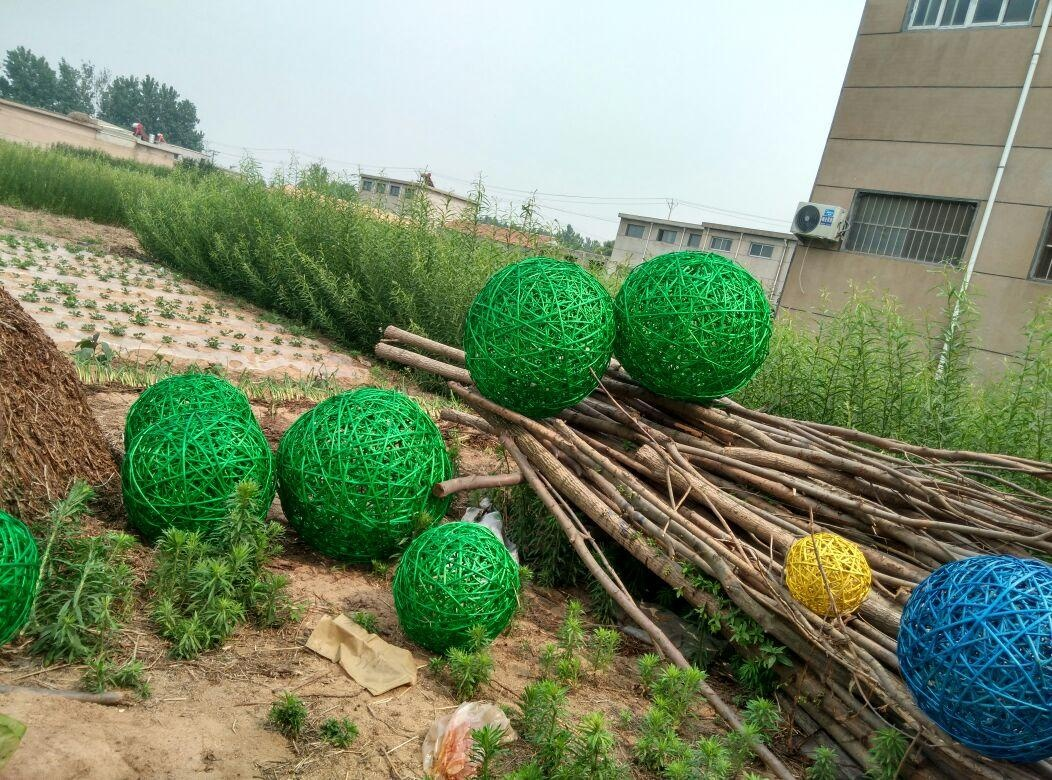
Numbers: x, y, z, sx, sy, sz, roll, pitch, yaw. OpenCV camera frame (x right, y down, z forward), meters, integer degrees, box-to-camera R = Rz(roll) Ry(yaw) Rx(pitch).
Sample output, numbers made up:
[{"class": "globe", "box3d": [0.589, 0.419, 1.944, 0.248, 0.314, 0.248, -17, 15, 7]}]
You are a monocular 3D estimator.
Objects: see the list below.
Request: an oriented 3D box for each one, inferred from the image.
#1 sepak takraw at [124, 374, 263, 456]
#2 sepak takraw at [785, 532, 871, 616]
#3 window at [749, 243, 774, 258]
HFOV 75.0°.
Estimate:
[{"class": "sepak takraw", "box3d": [-1.748, 0.189, 3.818, 0.492, 0.536, 0.495, 18, 14, 32]}, {"class": "sepak takraw", "box3d": [1.370, 0.850, 3.118, 0.237, 0.269, 0.268, 20, 27, 0]}, {"class": "window", "box3d": [7.606, -4.472, 22.001, 0.469, 0.341, 0.040, 20, 31, 24]}]
